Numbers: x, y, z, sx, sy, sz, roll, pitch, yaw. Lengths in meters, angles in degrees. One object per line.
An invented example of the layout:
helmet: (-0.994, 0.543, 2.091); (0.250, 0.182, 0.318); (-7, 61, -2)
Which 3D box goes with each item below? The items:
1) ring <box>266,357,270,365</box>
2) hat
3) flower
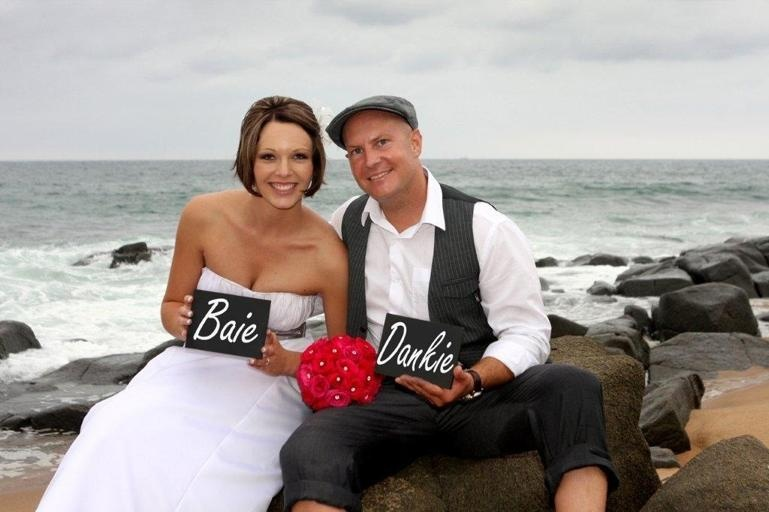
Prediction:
ring: (-1.150, 1.022, 6.888); (0.057, 0.059, 0.020); (-2, 0, 4)
hat: (-0.019, -1.442, 7.229); (0.756, 0.274, 0.613); (8, -22, -45)
flower: (-0.339, 1.064, 6.987); (0.855, 0.660, 0.817); (-17, 7, 4)
